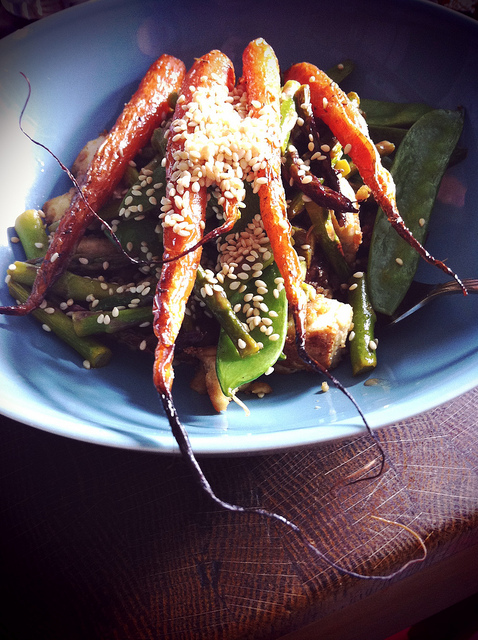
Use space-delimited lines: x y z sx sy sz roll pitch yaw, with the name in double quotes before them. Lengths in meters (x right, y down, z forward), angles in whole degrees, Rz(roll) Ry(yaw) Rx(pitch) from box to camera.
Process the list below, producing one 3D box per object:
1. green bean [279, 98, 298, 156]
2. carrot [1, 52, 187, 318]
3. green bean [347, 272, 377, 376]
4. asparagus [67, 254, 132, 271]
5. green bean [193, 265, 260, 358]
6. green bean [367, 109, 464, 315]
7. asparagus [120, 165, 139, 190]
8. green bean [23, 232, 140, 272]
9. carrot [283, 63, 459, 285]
"green bean" 0.108 -0.398 1.314 0.037 0.020 0.117 13 69 -11
"carrot" -0.323 -0.279 1.379 0.117 0.121 0.703 33 77 -1
"green bean" 0.256 0.007 1.315 0.064 0.204 0.057 -3 -2 -5
"asparagus" -0.314 -0.129 1.386 0.099 0.051 0.019 0 53 -6
"green bean" -0.053 -0.026 1.259 0.073 0.050 0.249 -33 55 -1
"green bean" 0.373 -0.260 1.383 0.163 0.028 0.517 21 77 4
"asparagus" -0.245 -0.320 1.424 0.040 0.056 0.014 35 23 12
"green bean" -0.308 -0.146 1.439 0.351 0.094 0.080 3 42 -2
"carrot" 0.283 -0.292 1.344 0.099 0.088 0.610 -33 65 1
